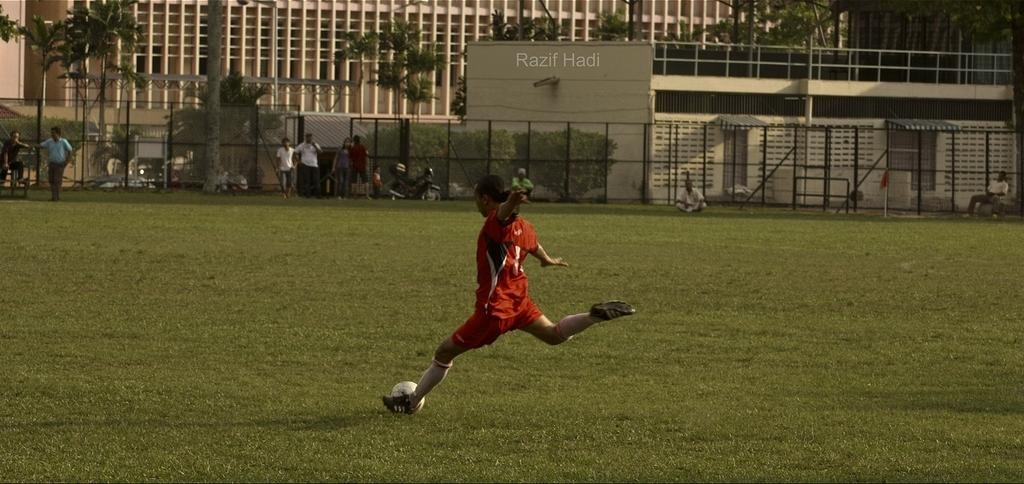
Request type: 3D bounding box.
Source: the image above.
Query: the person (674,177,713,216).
[{"bbox_3d":[8.812,-2.196,64.800,1.190,1.474,1.238,1,3,-14],"label":"person"}]

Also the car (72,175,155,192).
[{"bbox_3d":[-20.175,-3.024,66.836,3.484,0.696,1.263,1,3,-8],"label":"car"}]
